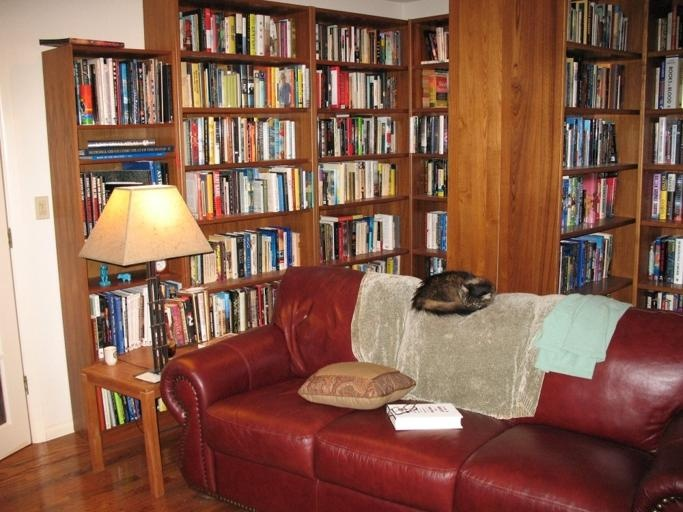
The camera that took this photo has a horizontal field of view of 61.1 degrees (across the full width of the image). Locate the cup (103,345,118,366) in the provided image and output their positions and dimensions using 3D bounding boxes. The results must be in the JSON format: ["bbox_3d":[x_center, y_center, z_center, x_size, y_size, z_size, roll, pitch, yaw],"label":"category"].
[{"bbox_3d":[-1.347,0.568,3.325,0.078,0.092,0.113,-9,17,-37],"label":"cup"}]

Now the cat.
[{"bbox_3d":[0.580,0.192,3.015,0.333,0.111,0.236,-9,8,-2],"label":"cat"}]

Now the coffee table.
[{"bbox_3d":[-1.017,0.954,3.490,0.846,0.630,0.798,-8,7,-38],"label":"coffee table"}]

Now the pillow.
[{"bbox_3d":[0.043,0.633,2.830,0.315,0.110,0.317,-5,-2,34],"label":"pillow"}]
